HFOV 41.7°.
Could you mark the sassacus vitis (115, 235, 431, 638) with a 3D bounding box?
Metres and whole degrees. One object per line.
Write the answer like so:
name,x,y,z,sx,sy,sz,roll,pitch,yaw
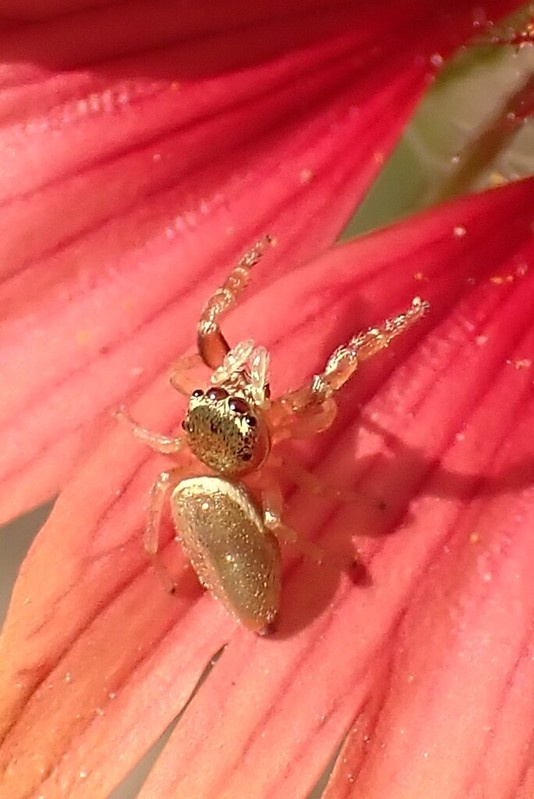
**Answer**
sassacus vitis,-0.008,0.012,0.647,0.189,0.267,0.287,17,41,41
